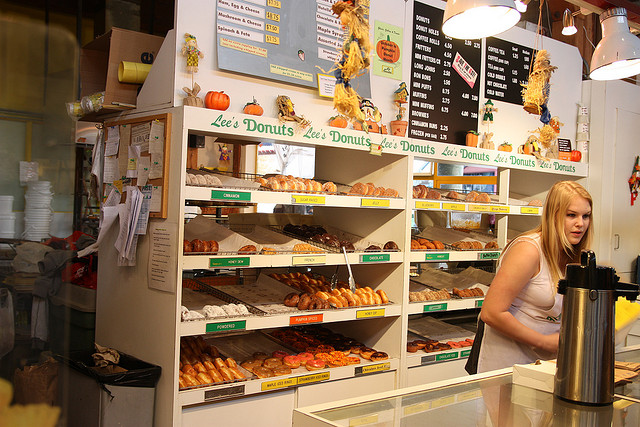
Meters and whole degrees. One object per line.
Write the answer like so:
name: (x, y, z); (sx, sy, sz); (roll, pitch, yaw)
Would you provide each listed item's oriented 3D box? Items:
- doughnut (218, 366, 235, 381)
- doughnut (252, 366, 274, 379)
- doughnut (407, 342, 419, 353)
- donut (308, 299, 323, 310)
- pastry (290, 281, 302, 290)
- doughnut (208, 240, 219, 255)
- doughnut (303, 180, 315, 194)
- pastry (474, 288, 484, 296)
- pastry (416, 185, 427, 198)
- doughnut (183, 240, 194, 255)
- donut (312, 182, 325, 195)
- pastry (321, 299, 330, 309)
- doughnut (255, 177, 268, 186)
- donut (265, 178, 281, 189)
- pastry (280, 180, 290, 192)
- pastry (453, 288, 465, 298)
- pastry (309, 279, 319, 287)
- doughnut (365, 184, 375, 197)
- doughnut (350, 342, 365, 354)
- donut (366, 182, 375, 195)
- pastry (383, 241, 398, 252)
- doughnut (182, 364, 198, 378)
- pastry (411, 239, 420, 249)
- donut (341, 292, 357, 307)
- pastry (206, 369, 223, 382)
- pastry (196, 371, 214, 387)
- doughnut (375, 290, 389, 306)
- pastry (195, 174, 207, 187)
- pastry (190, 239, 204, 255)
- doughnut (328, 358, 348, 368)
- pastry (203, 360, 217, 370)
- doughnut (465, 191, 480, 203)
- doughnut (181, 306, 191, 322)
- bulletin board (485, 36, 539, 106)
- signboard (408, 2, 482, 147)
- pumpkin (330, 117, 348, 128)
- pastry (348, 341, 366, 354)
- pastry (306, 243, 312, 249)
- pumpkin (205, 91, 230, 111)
doughnut: (-0.628, 1.074, 3.102); (0.060, 0.030, 0.090); (6, 32, -50)
doughnut: (-0.394, 1.110, 3.199); (0.139, 0.047, 0.111); (-1, 3, -22)
doughnut: (0.805, 1.158, 3.963); (0.112, 0.043, 0.144); (1, -1, 0)
donut: (-0.031, 0.688, 3.470); (0.075, 0.024, 0.076); (-17, -11, -16)
pastry: (-0.190, 0.595, 3.768); (0.041, 0.024, 0.067); (30, -4, -34)
doughnut: (-0.714, 0.235, 3.113); (0.076, 0.071, 0.078); (-19, -22, 32)
doughnut: (-0.079, -0.200, 3.446); (0.029, 0.093, 0.067); (-21, -4, -15)
pastry: (1.505, 0.737, 4.323); (0.018, 0.060, 0.059); (-30, 37, 5)
pastry: (0.899, -0.196, 4.042); (0.027, 0.090, 0.080); (6, 17, -2)
doughnut: (-0.862, 0.222, 2.998); (0.066, 0.088, 0.139); (0, 3, -14)
donut: (-0.010, -0.194, 3.495); (0.091, 0.086, 0.213); (0, 3, 1)
pastry: (0.051, 0.698, 3.524); (0.045, 0.059, 0.018); (10, -35, -33)
doughnut: (-0.427, -0.223, 3.319); (0.068, 0.036, 0.065); (4, -2, -20)
donut: (-0.349, -0.211, 3.282); (0.068, 0.034, 0.069); (17, 21, -7)
pastry: (-0.257, -0.194, 3.310); (0.071, 0.079, 0.022); (3, -11, -10)
pastry: (1.295, 0.737, 4.261); (0.093, 0.057, 0.131); (1, 3, 4)
pastry: (-0.048, 0.576, 3.813); (0.043, 0.030, 0.054); (-6, 19, -20)
doughnut: (0.421, -0.195, 3.751); (0.053, 0.077, 0.121); (1, 3, 8)
doughnut: (0.306, 1.112, 3.793); (0.072, 0.036, 0.070); (-2, 2, -38)
donut: (0.427, -0.200, 3.777); (0.026, 0.083, 0.087); (4, -8, -26)
pastry: (0.589, 0.268, 3.806); (0.127, 0.059, 0.068); (0, 3, 0)
doughnut: (-0.876, 1.048, 3.073); (0.058, 0.085, 0.079); (-13, 45, -34)
pastry: (0.838, 0.272, 4.005); (0.070, 0.064, 0.132); (1, 3, 13)
donut: (0.229, 0.679, 3.617); (0.116, 0.097, 0.069); (3, 4, 36)
pastry: (-0.694, 1.076, 3.066); (0.054, 0.035, 0.106); (-2, 35, -33)
pastry: (-0.763, 1.089, 3.025); (0.061, 0.030, 0.092); (5, 26, -34)
doughnut: (0.516, 0.691, 3.792); (0.031, 0.091, 0.090); (-15, 45, 2)
pastry: (-0.811, -0.227, 3.125); (0.084, 0.082, 0.020); (16, 15, 33)
pastry: (-0.819, 0.231, 3.069); (0.087, 0.085, 0.086); (7, -36, -41)
doughnut: (0.133, 1.134, 3.496); (0.165, 0.045, 0.078); (-1, 3, -21)
pastry: (-0.768, 1.037, 3.147); (0.040, 0.077, 0.022); (-27, 39, 6)
doughnut: (1.448, -0.155, 4.339); (0.128, 0.098, 0.301); (1, 3, 19)
doughnut: (-0.879, 0.653, 2.998); (0.059, 0.081, 0.130); (-1, 3, -16)
bulletin board: (1.951, -1.453, 4.733); (0.807, 0.595, 0.014); (-7, 14, -32)
signboard: (1.183, -1.283, 4.295); (0.886, 1.218, 0.061); (-2, 4, -32)
pumpkin: (0.154, -0.716, 3.649); (0.097, 0.095, 0.090); (33, 3, -41)
pastry: (0.301, 1.107, 3.800); (0.078, 0.039, 0.077); (-1, 2, -38)
pastry: (-0.085, 0.247, 3.471); (0.031, 0.010, 0.031); (29, 2, -33)
pumpkin: (-0.710, -0.761, 3.184); (0.143, 0.151, 0.130); (13, 11, -39)
